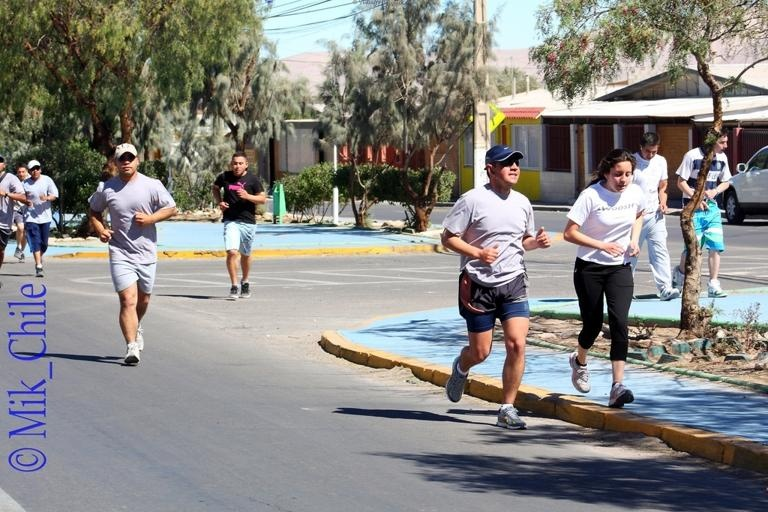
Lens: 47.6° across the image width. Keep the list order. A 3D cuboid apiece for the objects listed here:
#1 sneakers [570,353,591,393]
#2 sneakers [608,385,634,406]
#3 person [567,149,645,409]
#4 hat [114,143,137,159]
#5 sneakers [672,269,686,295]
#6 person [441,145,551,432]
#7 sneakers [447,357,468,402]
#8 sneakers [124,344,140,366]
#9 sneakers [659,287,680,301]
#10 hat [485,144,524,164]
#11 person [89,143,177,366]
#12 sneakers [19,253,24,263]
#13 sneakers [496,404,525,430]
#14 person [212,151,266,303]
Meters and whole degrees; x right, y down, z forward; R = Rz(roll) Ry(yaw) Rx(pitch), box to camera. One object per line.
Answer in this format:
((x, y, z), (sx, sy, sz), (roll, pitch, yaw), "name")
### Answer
((1.875, 1.123, 8.289), (0.182, 0.405, 0.175), (-13, 0, -27), "sneakers")
((2.073, 1.237, 7.660), (0.118, 0.143, 0.303), (3, -14, -18), "sneakers")
((2.036, 0.166, 8.088), (0.710, 2.332, 0.981), (-1, 4, 15), "person")
((-2.926, -1.186, 9.823), (0.219, 0.161, 0.348), (-3, 4, -17), "hat")
((4.419, 0.388, 13.026), (0.177, 0.495, 0.220), (-1, 24, 13), "sneakers")
((0.959, 0.270, 7.647), (0.873, 2.474, 0.585), (-1, 3, 9), "person")
((0.690, 1.178, 8.030), (0.180, 0.465, 0.188), (12, -10, -27), "sneakers")
((-2.819, 1.118, 9.734), (0.129, 0.139, 0.312), (0, -7, -9), "sneakers")
((4.315, 0.583, 13.287), (0.166, 0.189, 0.366), (-3, -9, -37), "sneakers")
((1.034, -0.889, 7.540), (0.266, 0.129, 0.182), (-4, 1, 35), "hat")
((-2.884, -0.026, 9.829), (0.948, 2.467, 0.660), (-1, 3, 0), "person")
((-8.272, 0.051, 19.772), (0.140, 0.175, 0.070), (-5, -4, -15), "sneakers")
((1.098, 1.423, 7.649), (0.120, 0.147, 0.315), (2, 0, -31), "sneakers")
((-2.449, -0.527, 14.689), (0.851, 2.480, 0.820), (-2, 4, -11), "person")
